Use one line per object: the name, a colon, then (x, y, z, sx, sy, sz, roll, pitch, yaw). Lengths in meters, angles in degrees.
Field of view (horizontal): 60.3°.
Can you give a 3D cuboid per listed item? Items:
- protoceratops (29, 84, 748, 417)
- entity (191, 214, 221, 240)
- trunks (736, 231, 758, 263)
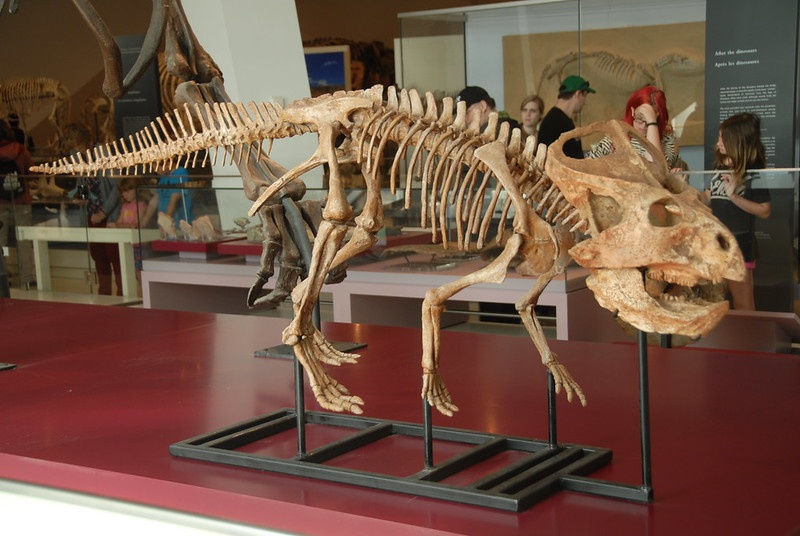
protoceratops: (-0.180, -0.121, 2.977, 3.072, 1.132, 0.720, 9, 9, 9)
entity: (-1.633, -0.344, 5.774, 0.136, 0.145, 0.335, 0, -8, -12)
trunks: (2.011, -0.140, 4.009, 0.075, 0.177, 0.130, -9, 15, -15)
